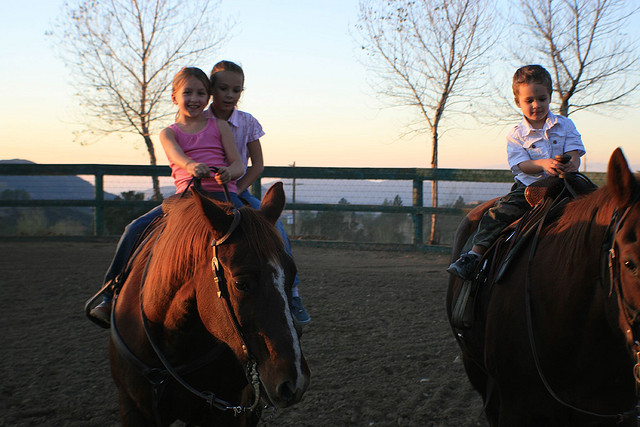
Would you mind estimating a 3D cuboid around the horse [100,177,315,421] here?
[{"bbox_3d":[-0.830,0.724,4.145,1.829,1.904,0.650,10,15,29],"label":"horse"}]
